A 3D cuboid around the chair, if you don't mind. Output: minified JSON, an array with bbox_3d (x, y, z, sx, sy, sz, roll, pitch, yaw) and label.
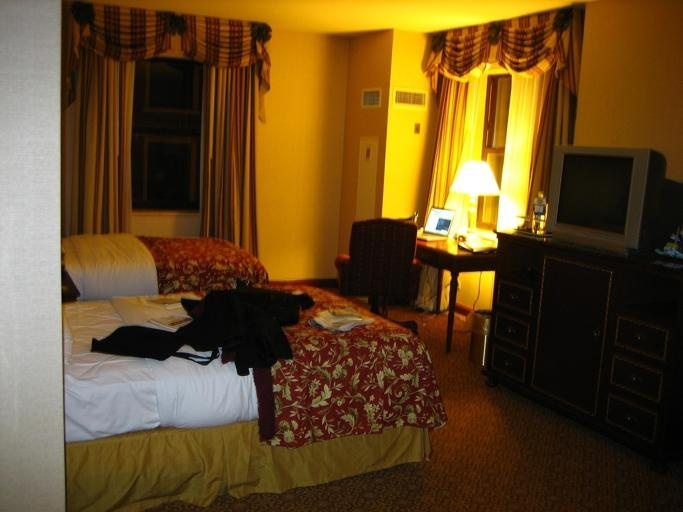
[{"bbox_3d":[0.335,0.151,5.053,0.732,1.127,0.685,4,10,7],"label":"chair"}]

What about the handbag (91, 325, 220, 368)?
[{"bbox_3d":[-0.938,0.496,2.795,0.585,0.099,0.253,-1,19,3],"label":"handbag"}]

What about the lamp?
[{"bbox_3d":[1.313,-0.566,5.381,0.423,0.695,0.596,9,15,23],"label":"lamp"}]
